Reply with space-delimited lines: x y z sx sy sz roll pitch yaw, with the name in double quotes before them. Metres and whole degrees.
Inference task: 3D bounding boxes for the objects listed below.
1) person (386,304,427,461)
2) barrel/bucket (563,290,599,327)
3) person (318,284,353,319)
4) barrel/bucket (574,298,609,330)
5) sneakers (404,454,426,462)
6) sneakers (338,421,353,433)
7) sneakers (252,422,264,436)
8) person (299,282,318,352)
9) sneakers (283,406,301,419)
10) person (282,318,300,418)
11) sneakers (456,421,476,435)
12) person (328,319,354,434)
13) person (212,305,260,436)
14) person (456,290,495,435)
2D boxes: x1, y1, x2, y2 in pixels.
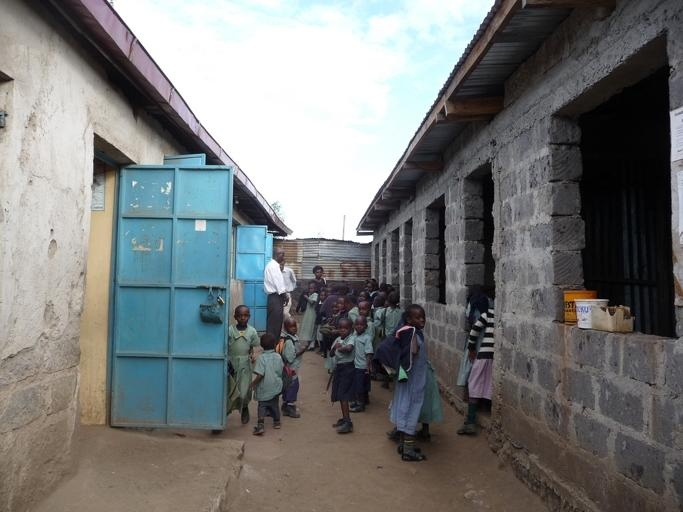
"person" 0.774 1.418 5.589 0.416 1.711 0.594 1 0 -2
"barrel/bucket" 2.135 0.466 4.368 0.300 0.331 0.300 0 2 0
"person" -0.137 1.018 10.897 0.759 0.721 0.643 -8 -9 44
"barrel/bucket" 2.092 0.490 4.082 0.250 0.192 0.241 1 -4 0
"sneakers" 0.813 2.224 5.383 0.215 0.091 0.095 -2 -2 1
"sneakers" 0.052 2.197 6.256 0.177 0.121 0.122 3 -2 -4
"sneakers" -1.053 2.167 6.116 0.093 0.173 0.180 10 -14 -43
"person" -0.793 1.513 12.097 0.456 1.770 0.974 1 0 -10
"sneakers" -0.715 2.209 6.880 0.305 0.220 0.104 -1 0 9
"person" -0.728 1.563 6.944 0.281 1.397 0.692 1 0 -5
"sneakers" 1.572 2.170 6.134 0.237 0.104 0.121 -1 35 17
"person" 0.008 1.570 6.517 0.300 1.401 0.648 1 0 -1
"person" -1.261 1.422 6.178 0.366 1.584 0.672 1 0 -9
"person" 1.721 1.365 6.049 0.487 1.191 0.484 1 0 36
